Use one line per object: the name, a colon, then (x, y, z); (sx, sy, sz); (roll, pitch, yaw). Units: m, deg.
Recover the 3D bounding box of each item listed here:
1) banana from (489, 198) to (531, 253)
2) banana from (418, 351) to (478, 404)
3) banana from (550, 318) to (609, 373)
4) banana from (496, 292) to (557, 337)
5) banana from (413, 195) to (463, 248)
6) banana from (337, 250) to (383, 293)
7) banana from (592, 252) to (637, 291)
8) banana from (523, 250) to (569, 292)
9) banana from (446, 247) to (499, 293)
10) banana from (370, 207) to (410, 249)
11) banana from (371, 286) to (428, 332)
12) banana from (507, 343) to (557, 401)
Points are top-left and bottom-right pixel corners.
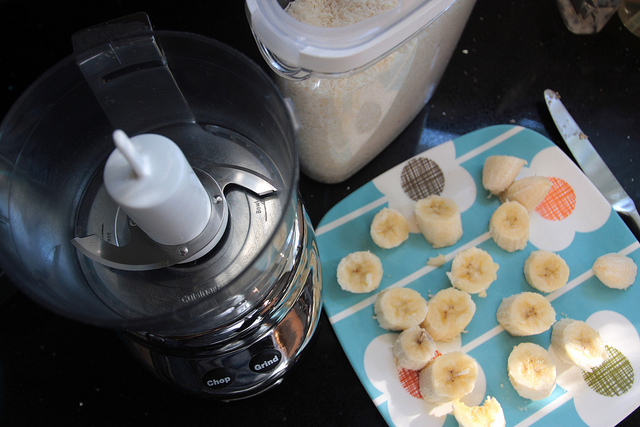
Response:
banana: (0.358, 0.021, 0.979); (0.069, 0.036, 0.104); (3, 45, 18)
banana: (0.215, 0.269, 0.894); (0.083, 0.132, 0.087); (5, 77, 3)
banana: (0.445, 0.228, 0.912); (0.080, 0.032, 0.072); (15, 77, 2)
banana: (0.368, 0.177, 0.923); (0.106, 0.041, 0.071); (-12, 77, -5)
banana: (0.219, 0.019, 0.987); (0.070, 0.064, 0.101); (-11, 27, -5)
banana: (0.072, 0.107, 0.944); (0.079, 0.032, 0.095); (1, 49, 5)
banana: (0.539, 0.106, 0.954); (0.077, 0.023, 0.063); (25, 77, 4)
banana: (0.409, 0.107, 0.950); (0.074, 0.027, 0.070); (18, 77, 2)
banana: (0.277, 0.110, 0.949); (0.085, 0.028, 0.085); (32, 78, 5)
banana: (0.132, 0.028, 0.982); (0.071, 0.026, 0.077); (43, 20, -9)
banana: (0.140, 0.171, 0.920); (0.092, 0.042, 0.076); (5, 76, -1)
banana: (0.366, 0.269, 0.908); (0.081, 0.026, 0.092); (9, 45, 41)
